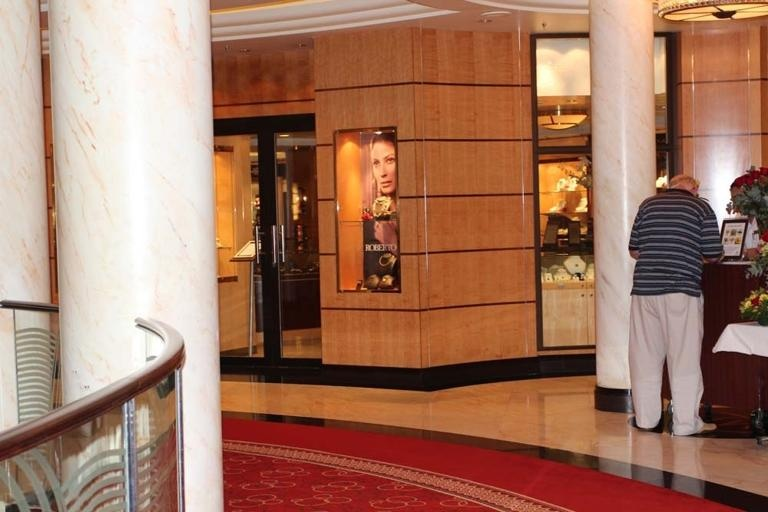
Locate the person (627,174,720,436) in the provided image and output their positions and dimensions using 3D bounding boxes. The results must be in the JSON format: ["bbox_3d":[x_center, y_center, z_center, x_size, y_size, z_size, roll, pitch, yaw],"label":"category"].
[{"bbox_3d":[2.448,0.474,6.059,0.737,2.055,0.285,-1,1,15],"label":"person"}]
